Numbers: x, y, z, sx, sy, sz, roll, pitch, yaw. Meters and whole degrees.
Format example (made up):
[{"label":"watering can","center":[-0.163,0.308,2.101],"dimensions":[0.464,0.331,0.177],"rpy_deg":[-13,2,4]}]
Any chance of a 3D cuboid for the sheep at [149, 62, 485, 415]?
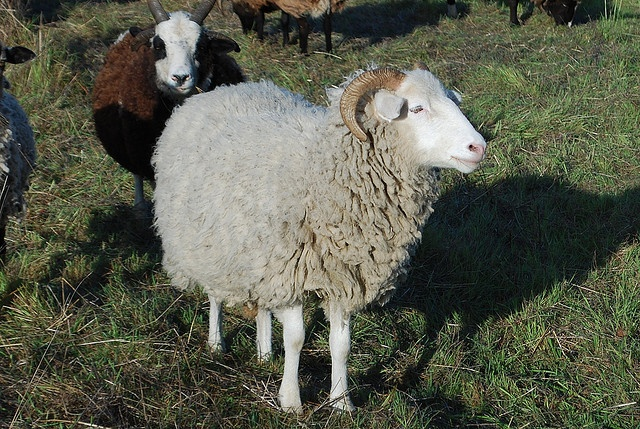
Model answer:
[{"label":"sheep","center":[-0.160,0.244,7.124],"dimensions":[2.026,3.331,3.910],"rpy_deg":[-5,11,-42]}]
